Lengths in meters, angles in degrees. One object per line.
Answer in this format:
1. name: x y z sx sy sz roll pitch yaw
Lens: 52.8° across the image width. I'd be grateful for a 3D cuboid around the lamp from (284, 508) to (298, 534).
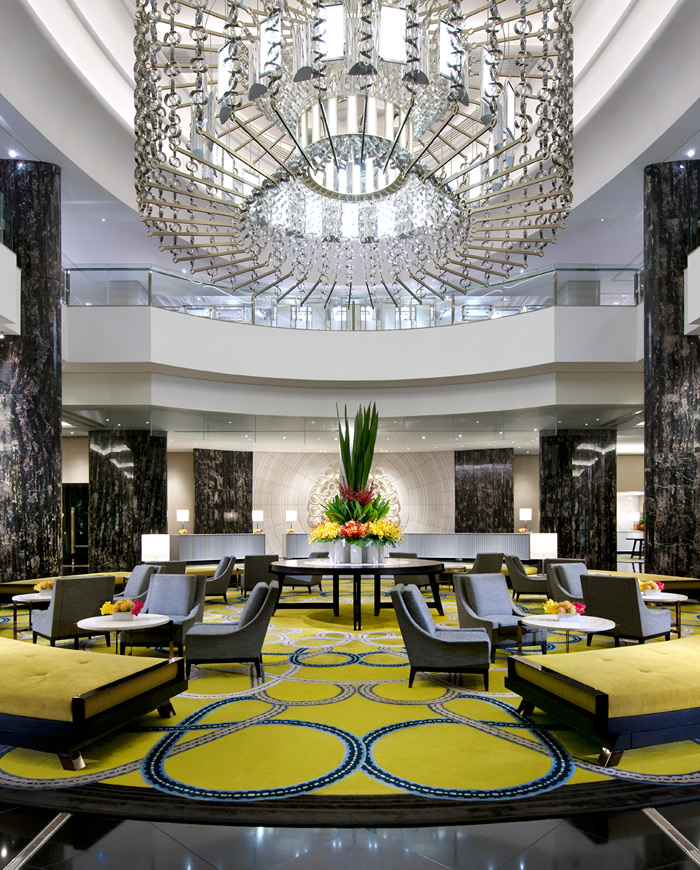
1. lamp: -1.519 2.255 18.537 0.346 0.600 0.671 -1 -5 -6
